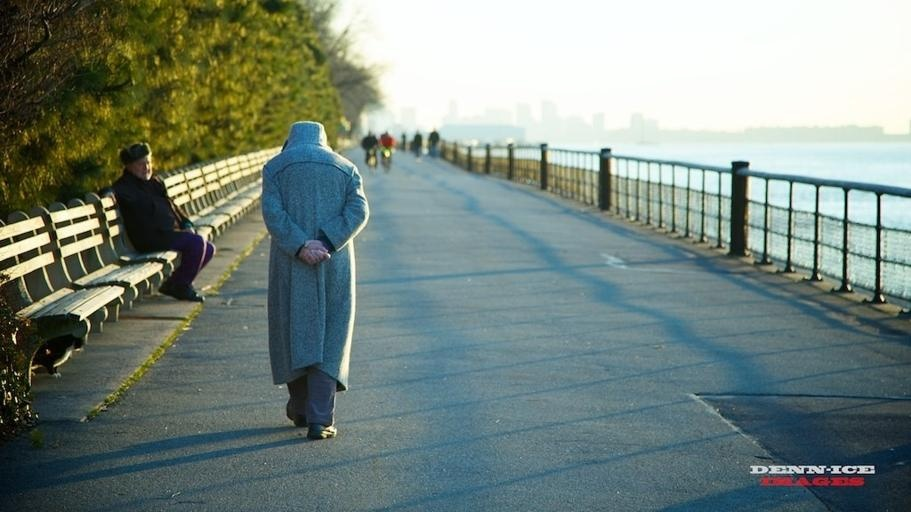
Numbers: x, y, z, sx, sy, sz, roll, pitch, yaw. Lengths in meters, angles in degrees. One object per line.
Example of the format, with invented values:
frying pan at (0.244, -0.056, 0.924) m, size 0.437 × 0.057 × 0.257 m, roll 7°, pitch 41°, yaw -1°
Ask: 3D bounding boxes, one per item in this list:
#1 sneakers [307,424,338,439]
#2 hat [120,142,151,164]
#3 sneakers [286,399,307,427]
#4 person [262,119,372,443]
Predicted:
sneakers at (-1.281, 1.657, 7.836) m, size 0.279 × 0.113 × 0.115 m, roll -2°, pitch -26°, yaw -15°
hat at (-4.525, -1.419, 11.742) m, size 0.411 × 0.192 × 0.407 m, roll -29°, pitch 19°, yaw -38°
sneakers at (-1.558, 1.533, 8.073) m, size 0.131 × 0.136 × 0.350 m, roll -1°, pitch 14°, yaw -14°
person at (-1.426, 0.216, 7.983) m, size 0.855 × 2.897 × 0.911 m, roll 5°, pitch 14°, yaw 25°
